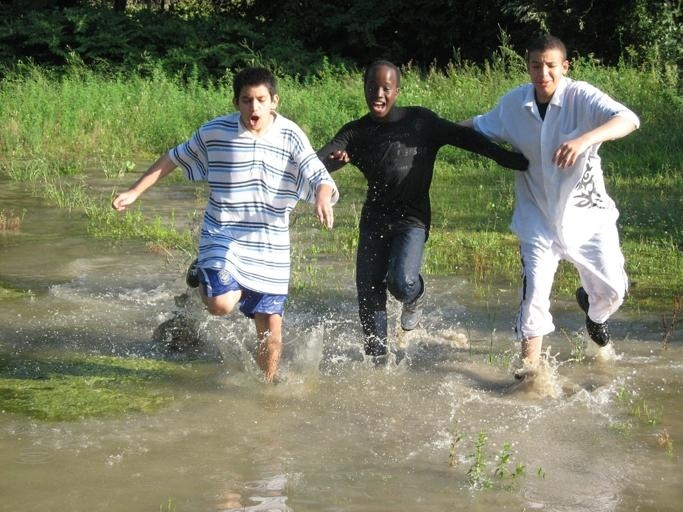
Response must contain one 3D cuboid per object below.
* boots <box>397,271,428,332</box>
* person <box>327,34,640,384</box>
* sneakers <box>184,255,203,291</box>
[{"bbox_3d":[0.748,0.474,10.055,0.208,0.600,0.248,12,11,32],"label":"boots"},{"bbox_3d":[2.106,-0.486,9.322,1.377,3.186,1.007,3,7,13],"label":"person"},{"bbox_3d":[-1.416,0.138,9.532,0.252,0.307,0.274,0,-4,-30],"label":"sneakers"}]
